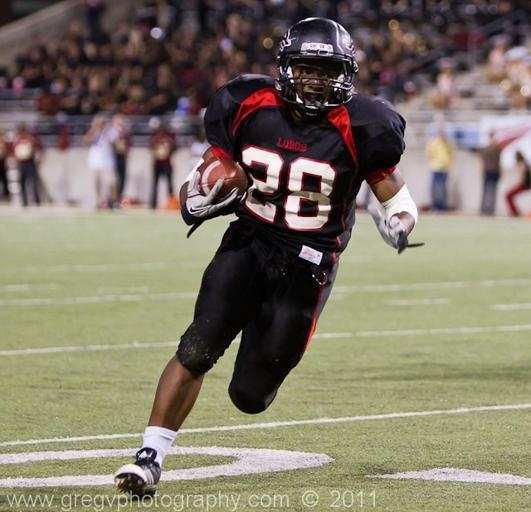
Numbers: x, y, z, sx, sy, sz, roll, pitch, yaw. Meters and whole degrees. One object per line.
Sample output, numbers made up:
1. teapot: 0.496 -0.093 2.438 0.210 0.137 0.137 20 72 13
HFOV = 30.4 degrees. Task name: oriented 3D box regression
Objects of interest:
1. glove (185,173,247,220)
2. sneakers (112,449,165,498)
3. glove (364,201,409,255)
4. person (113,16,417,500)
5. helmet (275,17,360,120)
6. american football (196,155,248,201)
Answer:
1. glove: -0.197 -0.221 3.703 0.186 0.114 0.224 -9 -8 -13
2. sneakers: -0.458 0.777 3.480 0.152 0.168 0.164 5 4 -3
3. glove: 0.473 -0.095 3.762 0.162 0.176 0.313 6 4 7
4. person: 0.063 -0.030 3.739 1.056 1.808 0.585 5 5 -14
5. helmet: 0.210 -0.764 3.929 0.341 0.333 0.399 3 13 -5
6. american football: -0.163 -0.315 3.774 0.204 0.137 0.140 -8 -4 -6
